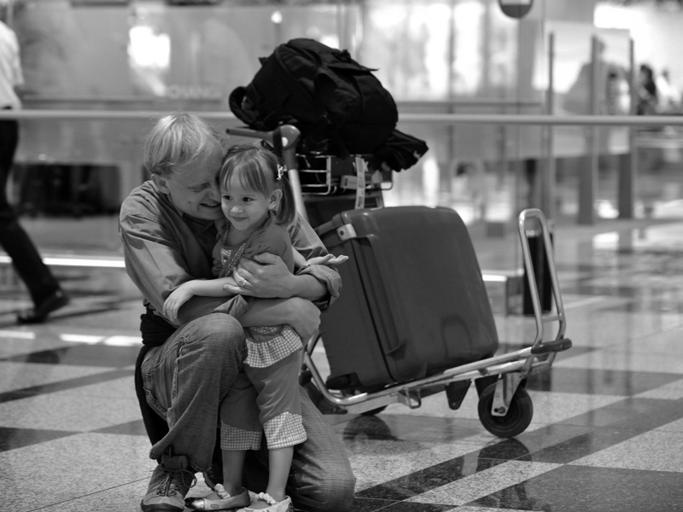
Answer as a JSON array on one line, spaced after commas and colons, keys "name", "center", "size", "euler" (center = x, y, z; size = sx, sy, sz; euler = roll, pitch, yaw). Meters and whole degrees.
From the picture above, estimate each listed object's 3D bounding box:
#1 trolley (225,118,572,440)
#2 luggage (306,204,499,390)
[{"name": "trolley", "center": [0.220, 0.084, 3.715], "size": [1.154, 1.031, 0.716], "euler": [-13, -6, 36]}, {"name": "luggage", "center": [0.241, 0.144, 3.766], "size": [0.545, 0.632, 0.672], "euler": [-8, -7, -19]}]
